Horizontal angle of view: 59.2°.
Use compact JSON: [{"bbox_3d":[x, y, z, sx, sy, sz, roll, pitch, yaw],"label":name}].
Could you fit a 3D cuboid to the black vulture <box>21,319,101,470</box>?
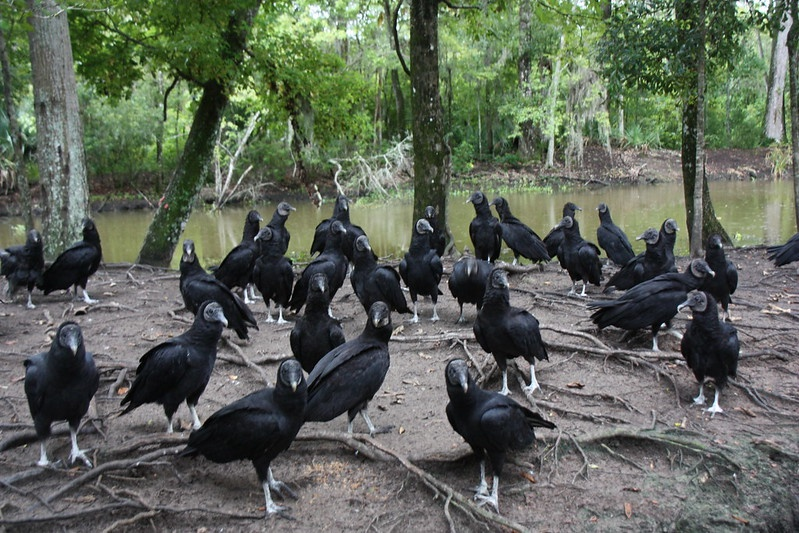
[{"bbox_3d":[-4.661,1.734,9.693,0.969,1.977,0.421,0,5,1],"label":"black vulture"}]
